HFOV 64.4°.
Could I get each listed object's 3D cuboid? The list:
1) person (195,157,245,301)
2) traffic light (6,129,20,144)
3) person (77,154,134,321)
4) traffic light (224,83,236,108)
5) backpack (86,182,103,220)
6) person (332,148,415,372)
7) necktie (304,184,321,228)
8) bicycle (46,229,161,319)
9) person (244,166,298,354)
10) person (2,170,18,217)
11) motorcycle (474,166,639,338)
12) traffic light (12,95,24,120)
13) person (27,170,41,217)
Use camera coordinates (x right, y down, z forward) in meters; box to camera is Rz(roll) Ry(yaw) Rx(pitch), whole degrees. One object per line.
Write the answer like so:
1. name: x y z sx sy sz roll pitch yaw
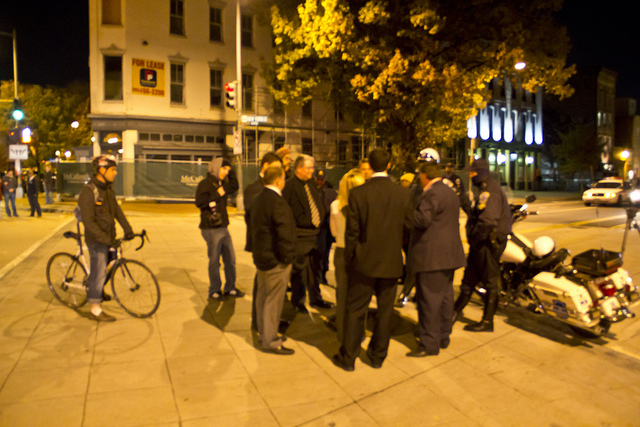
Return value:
1. person: -1.922 0.311 9.541 0.793 2.679 0.438 -7 10 -43
2. traffic light: -14.736 -3.655 24.168 0.420 0.685 0.996 -6 10 -38
3. person: -3.705 0.386 8.654 0.728 2.701 0.429 -4 9 -28
4. traffic light: -3.836 -5.033 21.488 0.405 1.050 1.380 -1 8 -9
5. backpack: -3.816 -0.204 8.528 0.219 0.583 0.093 1 8 4
6. person: 0.737 0.678 7.393 1.110 3.175 0.524 0 8 -3
7. necktie: -0.174 -0.095 8.854 0.195 0.809 0.079 -14 -7 -30
8. bicycle: -3.917 1.013 8.916 2.176 1.545 0.891 6 6 6
9. person: -0.771 0.700 7.780 0.788 2.827 0.484 1 8 7
10. person: -12.993 -0.818 21.104 0.482 1.916 0.966 -4 9 -32
11. motorcycle: 3.839 0.843 9.149 1.575 1.947 3.132 -6 15 -21
12. traffic light: -14.269 -4.856 23.730 0.374 0.919 1.114 -4 9 -31
13. person: -12.101 -0.839 21.275 0.428 1.925 0.897 -4 9 -30
